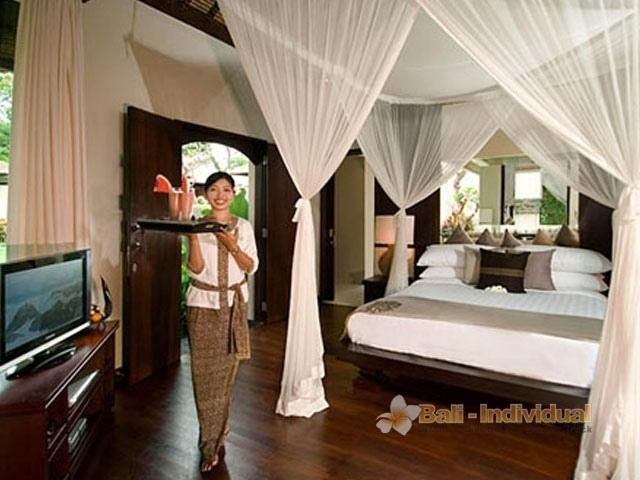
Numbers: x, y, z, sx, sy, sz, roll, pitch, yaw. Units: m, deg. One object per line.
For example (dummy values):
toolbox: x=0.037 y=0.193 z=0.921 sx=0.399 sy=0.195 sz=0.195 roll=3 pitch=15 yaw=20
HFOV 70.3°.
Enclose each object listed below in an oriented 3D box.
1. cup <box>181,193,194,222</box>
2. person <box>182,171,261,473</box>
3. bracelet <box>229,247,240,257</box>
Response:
cup: x=-0.879 y=-0.227 z=3.015 sx=0.093 sy=0.181 sz=0.062 roll=-7 pitch=11 yaw=-43
person: x=-0.653 y=0.495 z=3.087 sx=0.493 sy=1.888 sz=0.439 roll=-5 pitch=9 yaw=-31
bracelet: x=-0.556 y=0.070 z=2.950 sx=0.050 sy=0.053 sz=0.048 roll=4 pitch=-3 yaw=-43
